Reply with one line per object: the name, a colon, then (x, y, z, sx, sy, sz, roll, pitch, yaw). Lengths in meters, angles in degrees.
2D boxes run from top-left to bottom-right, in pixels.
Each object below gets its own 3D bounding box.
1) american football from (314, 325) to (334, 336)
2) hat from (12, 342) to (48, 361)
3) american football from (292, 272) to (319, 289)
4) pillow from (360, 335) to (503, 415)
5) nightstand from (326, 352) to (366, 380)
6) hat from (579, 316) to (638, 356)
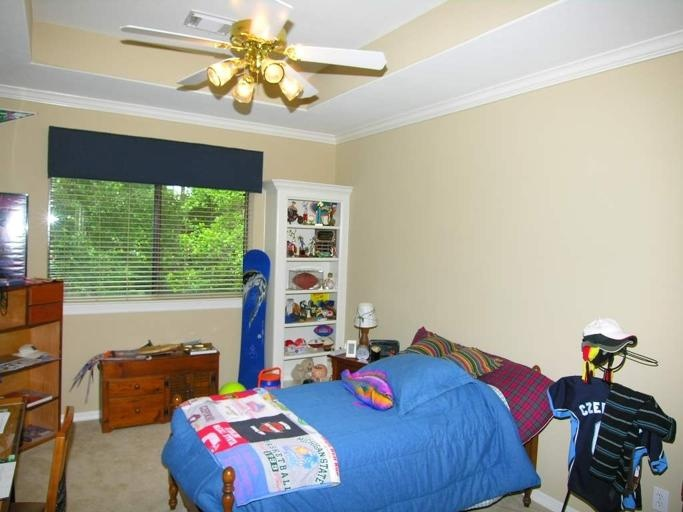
american football: (-0.195, 0.895, 5.787, 0.147, 0.037, 0.153, -7, -31, 8)
hat: (-2.801, 0.854, 4.377, 0.182, 0.058, 0.139, 5, 6, 31)
american football: (-0.408, 0.255, 5.553, 0.201, 0.139, 0.200, 0, 1, -39)
pillow: (0.748, 0.887, 3.934, 0.675, 0.206, 0.576, -1, 5, -38)
nightstand: (0.040, 1.056, 4.761, 0.241, 0.356, 0.344, -2, 3, -34)
hat: (1.844, 0.548, 3.361, 0.207, 0.153, 0.278, -3, -1, -43)
